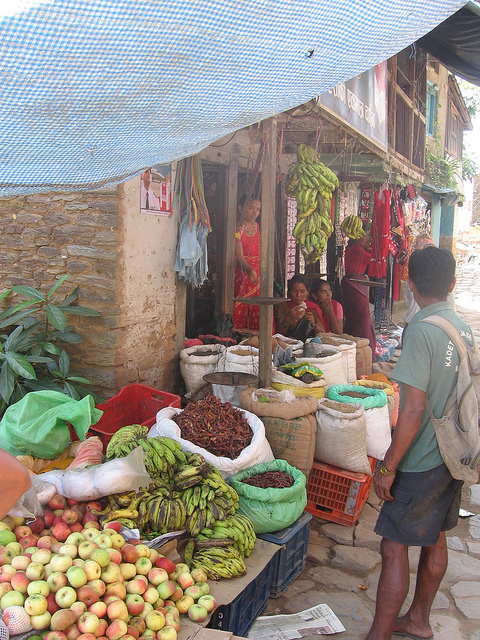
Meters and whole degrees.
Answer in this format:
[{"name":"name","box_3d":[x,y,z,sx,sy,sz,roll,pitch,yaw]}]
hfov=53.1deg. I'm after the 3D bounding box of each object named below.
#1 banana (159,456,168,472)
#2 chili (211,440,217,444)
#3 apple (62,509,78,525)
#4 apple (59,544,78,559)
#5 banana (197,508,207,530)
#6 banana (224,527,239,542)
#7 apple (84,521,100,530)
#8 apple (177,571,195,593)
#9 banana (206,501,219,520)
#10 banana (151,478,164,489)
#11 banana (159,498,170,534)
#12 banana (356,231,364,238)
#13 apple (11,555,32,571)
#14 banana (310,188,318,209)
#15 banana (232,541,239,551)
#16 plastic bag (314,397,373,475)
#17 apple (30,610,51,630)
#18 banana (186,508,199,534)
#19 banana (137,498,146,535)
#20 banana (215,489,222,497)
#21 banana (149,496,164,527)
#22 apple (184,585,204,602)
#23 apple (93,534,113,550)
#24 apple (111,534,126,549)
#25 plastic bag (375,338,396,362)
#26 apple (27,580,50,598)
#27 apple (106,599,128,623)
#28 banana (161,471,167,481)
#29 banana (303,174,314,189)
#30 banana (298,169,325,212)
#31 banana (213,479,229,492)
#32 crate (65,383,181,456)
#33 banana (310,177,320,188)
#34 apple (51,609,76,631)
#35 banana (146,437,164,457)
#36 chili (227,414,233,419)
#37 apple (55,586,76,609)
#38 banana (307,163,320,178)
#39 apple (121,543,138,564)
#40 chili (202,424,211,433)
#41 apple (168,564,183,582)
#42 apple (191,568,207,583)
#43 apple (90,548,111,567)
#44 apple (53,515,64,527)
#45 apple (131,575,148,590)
[{"name":"banana","box_3d":[-0.389,0.742,2.480,0.024,0.068,0.050,-1,0,-2]},{"name":"chili","box_3d":[-0.151,0.724,2.850,0.024,0.007,0.006,16,26,16]},{"name":"apple","box_3d":[-0.758,0.878,2.137,0.055,0.056,0.056,3,-6,-33]},{"name":"apple","box_3d":[-0.652,0.880,1.835,0.051,0.051,0.051,15,-1,16]},{"name":"banana","box_3d":[-0.183,0.985,2.380,0.028,0.095,0.031,12,-32,-4]},{"name":"banana","box_3d":[-0.045,1.050,2.381,0.034,0.024,0.091,14,30,-55]},{"name":"apple","box_3d":[-0.655,0.908,2.129,0.044,0.043,0.043,2,-1,-8]},{"name":"apple","box_3d":[-0.233,1.147,2.109,0.066,0.066,0.067,-6,-14,-17]},{"name":"banana","box_3d":[-0.130,0.951,2.412,0.032,0.027,0.112,7,33,-35]},{"name":"banana","box_3d":[-0.412,0.818,2.398,0.051,0.015,0.038,40,16,8]},{"name":"banana","box_3d":[-0.346,0.937,2.303,0.033,0.165,0.056,2,-18,4]},{"name":"banana","box_3d":[1.647,-1.175,6.524,0.026,0.073,0.076,-29,-22,38]},{"name":"apple","box_3d":[-0.795,0.885,1.745,0.039,0.039,0.052,-2,-16,18]},{"name":"banana","box_3d":[0.682,-1.125,4.413,0.051,0.191,0.063,6,-9,29]},{"name":"banana","box_3d":[-0.016,1.111,2.356,0.015,0.036,0.026,-19,9,35]},{"name":"plastic bag","box_3d":[0.750,0.846,3.528,0.515,0.508,0.305,13,25,40]},{"name":"apple","box_3d":[-0.648,0.987,1.589,0.053,0.052,0.052,-21,23,7]},{"name":"banana","box_3d":[-0.234,0.987,2.372,0.035,0.131,0.043,25,-28,2]},{"name":"banana","box_3d":[-0.454,0.909,2.227,0.033,0.129,0.026,15,-22,-17]},{"name":"banana","box_3d":[-0.108,0.896,2.486,0.038,0.028,0.029,-24,54,-30]},{"name":"banana","box_3d":[-0.389,0.909,2.280,0.036,0.133,0.044,4,-25,13]},{"name":"apple","box_3d":[-0.197,1.175,2.071,0.056,0.065,0.056,3,-5,25]},{"name":"apple","box_3d":[-0.545,0.889,1.927,0.052,0.052,0.052,11,-43,-9]},{"name":"apple","box_3d":[-0.504,0.917,1.991,0.045,0.046,0.054,-11,-11,-22]},{"name":"plastic bag","box_3d":[2.354,0.471,7.735,0.343,0.126,0.417,22,20,34]},{"name":"apple","box_3d":[-0.690,0.918,1.643,0.054,0.055,0.056,1,7,-43]},{"name":"apple","box_3d":[-0.438,1.043,1.718,0.065,0.065,0.063,15,-1,15]},{"name":"banana","box_3d":[-0.391,0.811,2.476,0.012,0.036,0.027,-6,-4,43]},{"name":"banana","box_3d":[0.634,-1.291,4.428,0.042,0.162,0.039,-2,-38,-30]},{"name":"banana","box_3d":[0.681,-1.214,4.422,0.235,0.384,0.123,-1,-11,7]},{"name":"banana","box_3d":[-0.090,0.866,2.504,0.028,0.111,0.033,-42,14,-8]},{"name":"crate","box_3d":[-0.878,0.696,3.563,0.394,0.256,0.602,9,12,28]},{"name":"banana","box_3d":[0.694,-1.284,4.420,0.050,0.137,0.038,0,-26,-33]},{"name":"apple","box_3d":[-0.586,0.992,1.587,0.061,0.030,0.062,-5,6,18]},{"name":"banana","box_3d":[-0.442,0.660,2.510,0.042,0.055,0.154,-1,31,-25]},{"name":"chili","box_3d":[-0.055,0.620,3.104,0.072,0.025,0.019,23,-12,-39]},{"name":"apple","box_3d":[-0.599,0.951,1.645,0.056,0.057,0.056,-32,27,-6]},{"name":"banana","box_3d":[0.678,-1.390,4.434,0.050,0.167,0.056,-38,-27,27]},{"name":"apple","box_3d":[-0.452,0.954,1.980,0.063,0.065,0.067,-2,-4,-7]},{"name":"chili","box_3d":[-0.199,0.652,2.891,0.013,0.022,0.048,-33,48,-2]},{"name":"apple","box_3d":[-0.285,1.130,2.134,0.040,0.036,0.039,13,16,12]},{"name":"apple","box_3d":[-0.181,1.145,2.147,0.052,0.053,0.055,1,7,-24]},{"name":"apple","box_3d":[-0.526,0.895,1.814,0.063,0.066,0.064,29,-25,-16]},{"name":"apple","box_3d":[-0.801,0.891,2.123,0.034,0.042,0.034,0,-4,-5]},{"name":"apple","box_3d":[-0.399,1.048,1.937,0.049,0.049,0.049,-7,35,26]}]
